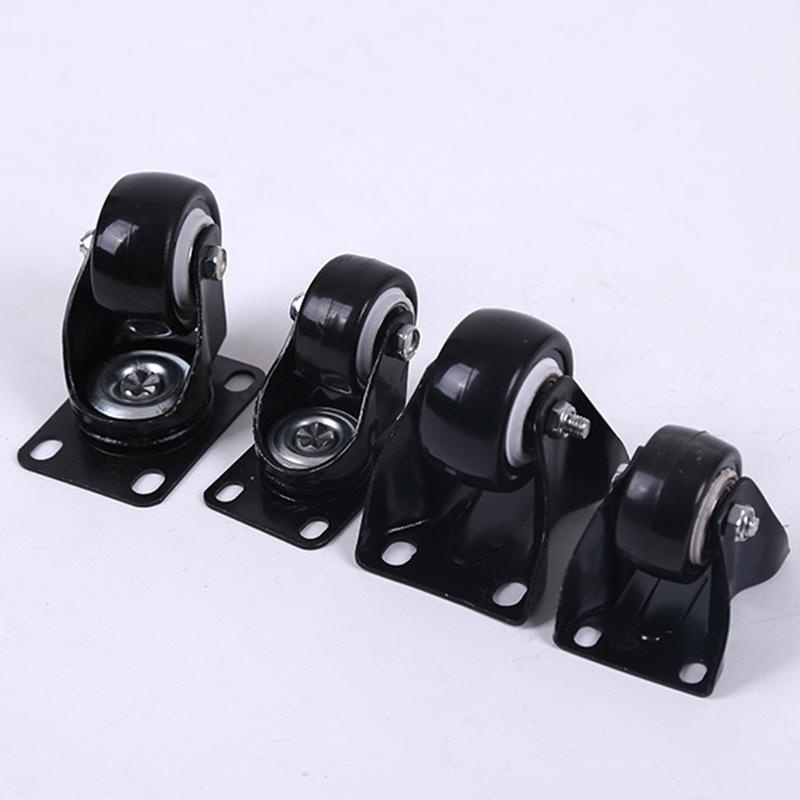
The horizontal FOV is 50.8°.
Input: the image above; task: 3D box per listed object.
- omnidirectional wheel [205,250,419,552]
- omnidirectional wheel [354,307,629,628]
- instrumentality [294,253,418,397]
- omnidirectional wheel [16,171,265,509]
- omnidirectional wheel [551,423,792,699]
[{"bbox_3d":[-0.206,-0.069,2.105,0.333,0.432,0.590,24,48,22],"label":"omnidirectional wheel"},{"bbox_3d":[0.249,0.041,1.932,0.565,0.512,0.397,-26,38,-34],"label":"omnidirectional wheel"},{"bbox_3d":[-0.136,-0.216,2.206,0.223,0.405,0.311,21,15,35],"label":"instrumentality"},{"bbox_3d":[-0.687,-0.265,2.245,0.411,0.733,0.666,23,37,12],"label":"omnidirectional wheel"},{"bbox_3d":[0.542,0.256,1.754,0.351,0.395,0.479,17,33,37],"label":"omnidirectional wheel"}]
